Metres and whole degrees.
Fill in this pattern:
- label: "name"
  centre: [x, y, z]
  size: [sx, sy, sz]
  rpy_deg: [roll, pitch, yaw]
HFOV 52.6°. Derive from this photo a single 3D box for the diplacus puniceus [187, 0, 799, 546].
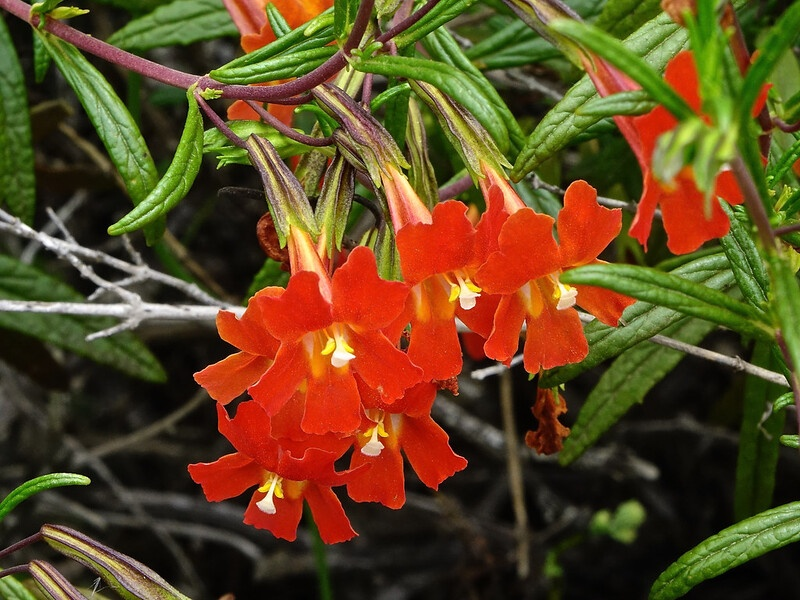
- label: "diplacus puniceus"
  centre: [0.005, 0.001, 1.779]
  size: [0.983, 1.029, 0.485]
  rpy_deg: [-25, 5, -2]
